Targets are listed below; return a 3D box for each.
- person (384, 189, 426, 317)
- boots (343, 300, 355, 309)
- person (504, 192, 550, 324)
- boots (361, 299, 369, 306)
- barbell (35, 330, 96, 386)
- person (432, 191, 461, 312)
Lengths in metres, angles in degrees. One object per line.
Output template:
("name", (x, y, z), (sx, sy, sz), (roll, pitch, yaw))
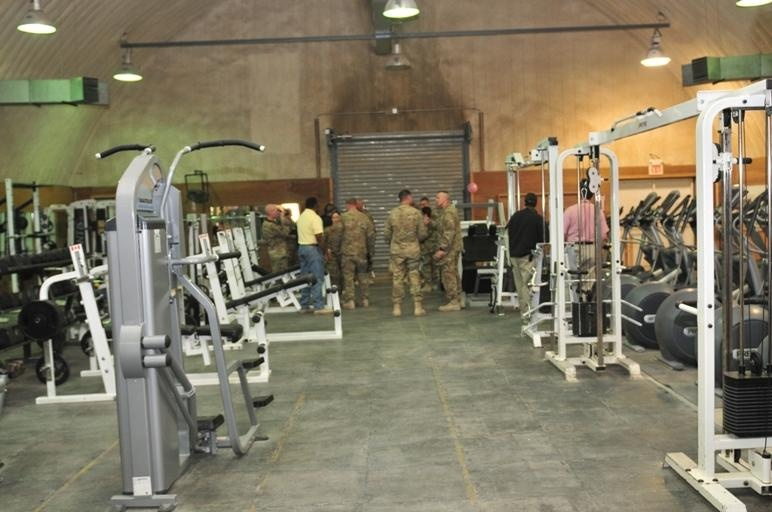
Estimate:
("person", (0.308, -0.105, 13.810), (0.723, 1.911, 0.898), (0, 1, -2))
("boots", (-0.652, 0.856, 14.442), (0.186, 0.193, 0.117), (5, 1, 15))
("person", (2.153, 0.007, 12.474), (0.537, 1.955, 0.549), (1, 8, 8))
("boots", (-0.379, 0.828, 14.666), (0.103, 0.128, 0.109), (2, 6, 12))
("barbell", (-4.185, 1.337, 10.564), (0.550, 0.698, 0.716), (2, 7, -9))
("person", (1.054, -0.130, 13.809), (0.496, 2.014, 0.815), (0, 3, 6))
